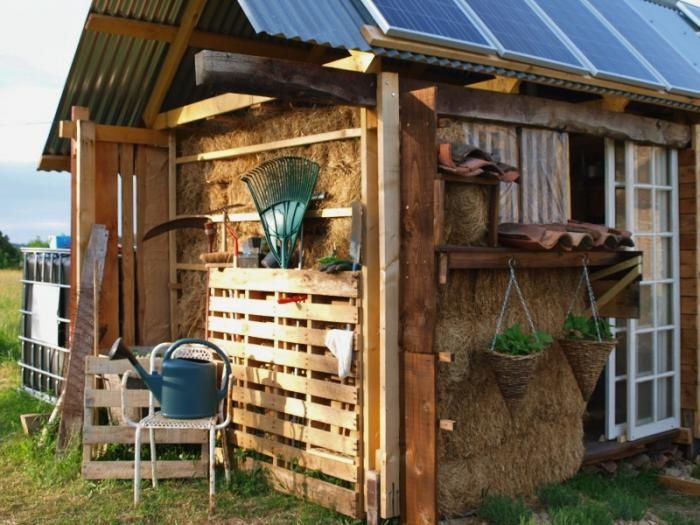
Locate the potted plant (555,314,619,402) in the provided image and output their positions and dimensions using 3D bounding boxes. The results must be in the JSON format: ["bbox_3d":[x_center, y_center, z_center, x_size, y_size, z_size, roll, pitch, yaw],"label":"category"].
[{"bbox_3d":[2.288,0.831,8.034,0.516,0.908,0.513,2,-7,6],"label":"potted plant"}]

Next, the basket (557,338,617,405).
[{"bbox_3d":[2.241,1.000,7.908,0.371,0.597,0.402,2,-4,-26],"label":"basket"}]

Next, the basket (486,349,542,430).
[{"bbox_3d":[1.479,1.054,7.558,0.510,0.710,0.516,11,19,43],"label":"basket"}]

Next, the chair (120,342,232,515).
[{"bbox_3d":[-1.666,1.582,8.339,1.284,2.063,1.340,1,-11,-5],"label":"chair"}]

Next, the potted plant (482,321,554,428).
[{"bbox_3d":[1.499,1.034,7.586,0.516,0.811,0.621,-3,13,2],"label":"potted plant"}]
